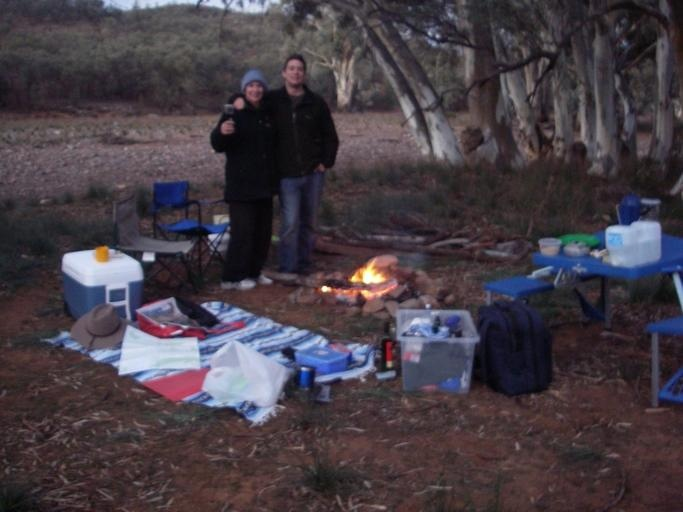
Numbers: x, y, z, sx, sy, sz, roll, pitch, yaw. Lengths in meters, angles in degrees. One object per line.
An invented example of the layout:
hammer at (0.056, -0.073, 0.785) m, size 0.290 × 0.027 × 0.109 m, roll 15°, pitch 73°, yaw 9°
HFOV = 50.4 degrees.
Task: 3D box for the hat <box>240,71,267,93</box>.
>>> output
hat at (-1.012, -2.007, 8.313) m, size 0.242 × 0.244 × 0.273 m, roll -1°, pitch 10°, yaw -7°

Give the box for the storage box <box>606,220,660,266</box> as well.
storage box at (2.493, -0.112, 6.221) m, size 0.503 × 0.361 × 0.268 m, roll -11°, pitch 15°, yaw -27°

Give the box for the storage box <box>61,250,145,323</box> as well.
storage box at (-2.437, 0.356, 7.773) m, size 0.610 × 0.615 × 0.820 m, roll -7°, pitch 15°, yaw -29°

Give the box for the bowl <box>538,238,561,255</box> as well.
bowl at (1.857, -0.085, 6.551) m, size 0.156 × 0.102 × 0.161 m, roll 0°, pitch 7°, yaw 0°

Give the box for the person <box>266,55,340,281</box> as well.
person at (-0.472, -1.077, 8.696) m, size 0.796 × 2.623 × 0.477 m, roll -3°, pitch 12°, yaw -14°

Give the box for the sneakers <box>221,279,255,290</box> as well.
sneakers at (-1.238, 0.327, 8.656) m, size 0.361 × 0.164 × 0.149 m, roll 3°, pitch 6°, yaw 1°

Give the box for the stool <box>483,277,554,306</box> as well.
stool at (1.625, 0.289, 6.658) m, size 0.362 × 0.180 × 0.356 m, roll -15°, pitch 21°, yaw -33°

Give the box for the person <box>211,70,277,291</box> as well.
person at (-1.082, -0.840, 8.365) m, size 0.775 × 2.567 × 0.597 m, roll -5°, pitch 13°, yaw -23°

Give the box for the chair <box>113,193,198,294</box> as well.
chair at (-2.103, -0.159, 8.269) m, size 0.879 × 1.056 × 0.850 m, roll -2°, pitch 15°, yaw -14°

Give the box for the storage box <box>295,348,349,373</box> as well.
storage box at (-0.183, 0.975, 6.728) m, size 0.474 × 0.156 × 0.328 m, roll 5°, pitch 13°, yaw 21°

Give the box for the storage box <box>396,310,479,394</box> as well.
storage box at (0.857, 0.827, 6.532) m, size 0.582 × 0.475 × 0.757 m, roll 1°, pitch 7°, yaw 8°

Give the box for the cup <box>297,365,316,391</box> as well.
cup at (-0.304, 1.047, 6.196) m, size 0.166 × 0.198 × 0.171 m, roll 0°, pitch 0°, yaw 0°
